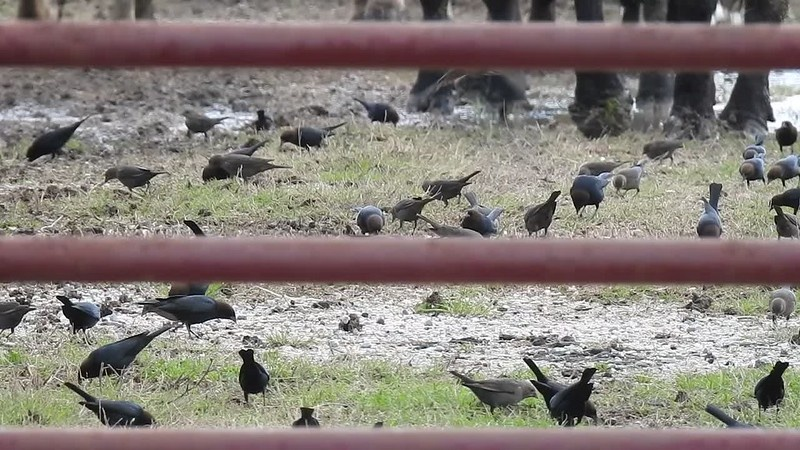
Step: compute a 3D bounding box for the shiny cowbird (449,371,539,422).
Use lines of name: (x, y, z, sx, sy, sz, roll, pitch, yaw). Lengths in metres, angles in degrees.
shiny cowbird: (0.926, 1.597, 12.754, 0.998, 0.349, 0.304, 23, -7, -4)

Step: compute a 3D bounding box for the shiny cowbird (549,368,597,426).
shiny cowbird: (1.635, 1.615, 12.386, 0.209, 0.525, 0.450, 9, -11, -38)

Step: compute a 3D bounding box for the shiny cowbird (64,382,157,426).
shiny cowbird: (-2.653, 1.668, 12.188, 0.777, 0.368, 0.304, 3, -9, -11)

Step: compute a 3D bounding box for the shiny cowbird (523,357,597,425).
shiny cowbird: (1.566, 1.647, 12.553, 0.337, 0.595, 0.952, -22, 5, -30)

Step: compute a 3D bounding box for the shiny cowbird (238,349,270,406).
shiny cowbird: (-1.410, 1.460, 12.678, 0.300, 0.518, 0.359, 3, -9, -6)

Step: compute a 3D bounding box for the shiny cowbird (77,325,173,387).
shiny cowbird: (-2.712, 1.307, 12.935, 0.723, 0.260, 0.183, -31, 39, -8)
